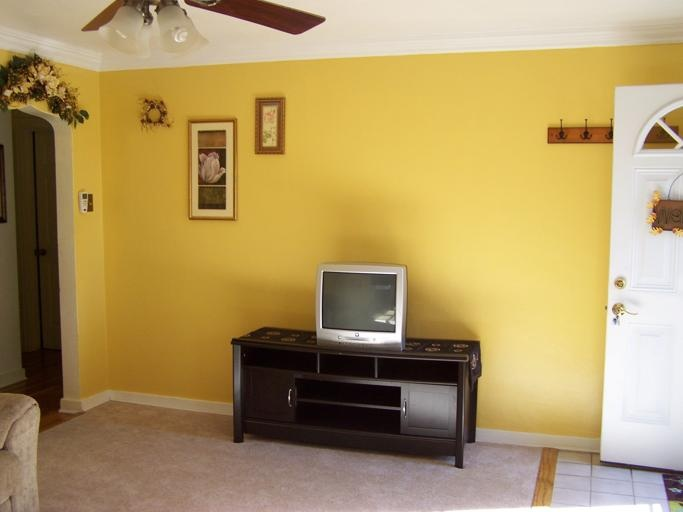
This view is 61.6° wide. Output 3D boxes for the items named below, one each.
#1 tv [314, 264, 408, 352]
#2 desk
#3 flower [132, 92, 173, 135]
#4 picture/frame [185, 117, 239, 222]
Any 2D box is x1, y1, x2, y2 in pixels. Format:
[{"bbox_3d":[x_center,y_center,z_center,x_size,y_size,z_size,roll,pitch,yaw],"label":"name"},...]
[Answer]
[{"bbox_3d":[0.163,0.381,4.525,0.718,0.624,0.400,2,2,10],"label":"tv"},{"bbox_3d":[0.051,1.102,4.565,1.737,0.822,0.599,3,1,7],"label":"desk"},{"bbox_3d":[-1.698,-1.291,5.162,0.299,0.309,0.097,-1,8,12],"label":"flower"},{"bbox_3d":[-1.147,-0.767,5.079,0.457,0.864,0.141,2,12,12],"label":"picture/frame"}]
